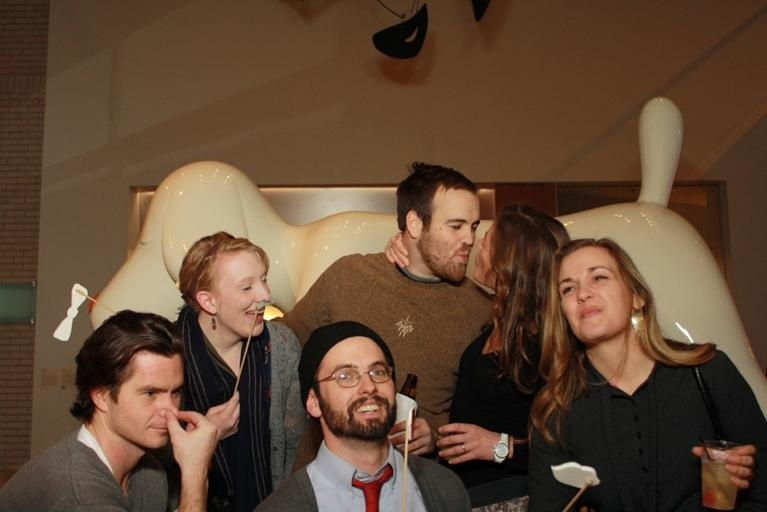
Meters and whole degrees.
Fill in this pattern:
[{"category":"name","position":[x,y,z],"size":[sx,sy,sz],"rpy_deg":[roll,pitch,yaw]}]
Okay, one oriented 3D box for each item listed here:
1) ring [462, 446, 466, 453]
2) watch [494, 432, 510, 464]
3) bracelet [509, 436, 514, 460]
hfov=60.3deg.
[{"category":"ring","position":[0.422,1.016,3.477],"size":[0.026,0.028,0.007],"rpy_deg":[0,-13,-4]},{"category":"watch","position":[0.624,1.022,3.499],"size":[0.063,0.111,0.103],"rpy_deg":[19,21,12]},{"category":"bracelet","position":[0.677,1.018,3.513],"size":[0.031,0.111,0.019],"rpy_deg":[1,-8,0]}]
